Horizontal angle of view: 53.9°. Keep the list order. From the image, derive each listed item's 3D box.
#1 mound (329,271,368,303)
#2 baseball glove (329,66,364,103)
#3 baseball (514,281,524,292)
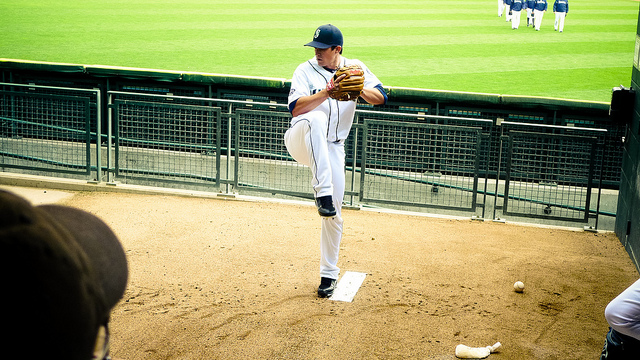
[{"bbox_3d":[0.465,1.744,10.237,0.349,0.313,0.770,5,9,24],"label":"mound"},{"bbox_3d":[0.403,-1.427,9.406,0.422,0.468,0.527,-8,3,-37],"label":"baseball glove"},{"bbox_3d":[3.196,1.729,10.155,0.151,0.141,0.148,2,16,15],"label":"baseball"}]
